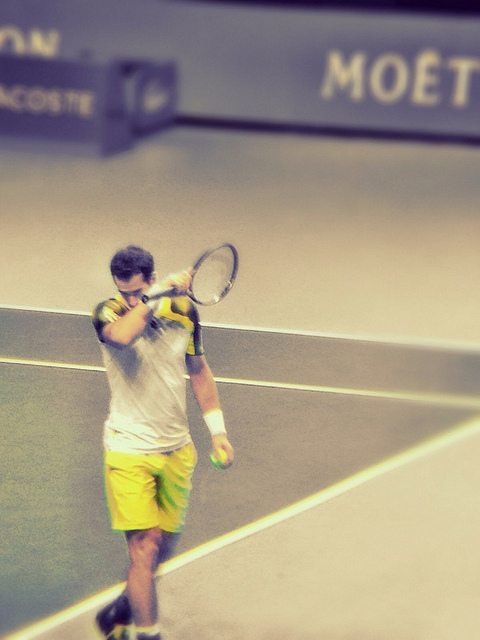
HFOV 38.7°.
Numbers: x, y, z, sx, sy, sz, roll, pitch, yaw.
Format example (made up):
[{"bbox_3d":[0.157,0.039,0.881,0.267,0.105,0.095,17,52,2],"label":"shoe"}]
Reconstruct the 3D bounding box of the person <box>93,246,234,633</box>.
[{"bbox_3d":[-0.266,0.475,2.413,0.470,1.458,0.469,-2,9,-22],"label":"person"}]

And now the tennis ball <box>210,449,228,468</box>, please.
[{"bbox_3d":[-0.081,0.503,2.466,0.042,0.081,0.059,-2,9,-25],"label":"tennis ball"}]
